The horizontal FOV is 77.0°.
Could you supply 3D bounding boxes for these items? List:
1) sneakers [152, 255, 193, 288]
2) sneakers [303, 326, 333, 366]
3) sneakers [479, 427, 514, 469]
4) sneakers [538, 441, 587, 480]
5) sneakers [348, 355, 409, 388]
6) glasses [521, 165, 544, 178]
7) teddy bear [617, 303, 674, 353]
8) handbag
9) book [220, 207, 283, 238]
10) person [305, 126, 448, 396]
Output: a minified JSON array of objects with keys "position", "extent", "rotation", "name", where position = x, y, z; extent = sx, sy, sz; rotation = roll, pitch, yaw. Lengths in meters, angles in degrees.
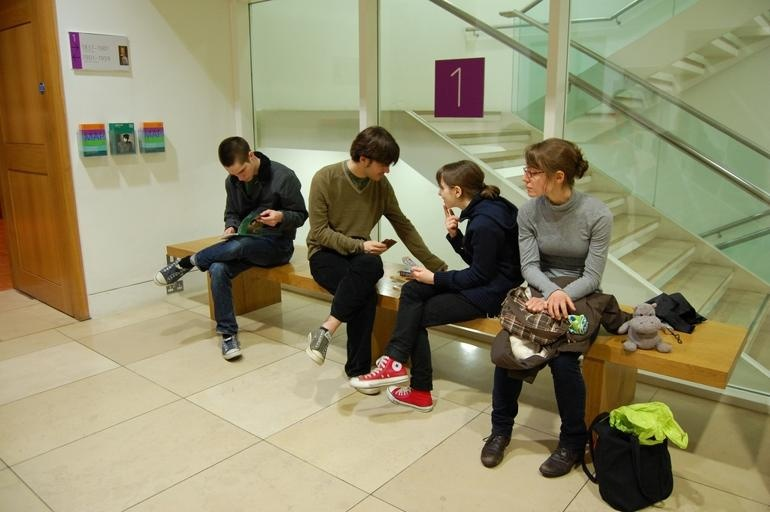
[{"position":[-1.844,0.121,4.176],"extent":[0.386,0.129,0.149],"rotation":[-30,6,-8],"name":"sneakers"},{"position":[-0.422,0.560,3.097],"extent":[0.129,0.099,0.293],"rotation":[-34,23,-1],"name":"sneakers"},{"position":[0.588,1.057,2.649],"extent":[0.092,0.095,0.251],"rotation":[11,4,25],"name":"sneakers"},{"position":[0.940,1.075,2.626],"extent":[0.321,0.127,0.114],"rotation":[-8,7,-35],"name":"sneakers"},{"position":[-0.097,0.723,3.081],"extent":[0.456,0.241,0.148],"rotation":[-3,4,-5],"name":"sneakers"},{"position":[0.789,-0.475,2.701],"extent":[0.067,0.072,0.184],"rotation":[-5,18,-11],"name":"glasses"},{"position":[1.388,0.386,2.627],"extent":[0.296,0.233,0.212],"rotation":[1,10,16],"name":"teddy bear"},{"position":[0.765,0.335,2.621],"extent":[0.219,0.236,0.343],"rotation":[-13,22,-31],"name":"handbag"},{"position":[-1.035,-0.255,3.779],"extent":[0.388,0.246,0.184],"rotation":[-36,14,19],"name":"book"},{"position":[-0.196,-0.007,3.312],"extent":[1.014,1.721,0.912],"rotation":[11,16,41],"name":"person"}]
